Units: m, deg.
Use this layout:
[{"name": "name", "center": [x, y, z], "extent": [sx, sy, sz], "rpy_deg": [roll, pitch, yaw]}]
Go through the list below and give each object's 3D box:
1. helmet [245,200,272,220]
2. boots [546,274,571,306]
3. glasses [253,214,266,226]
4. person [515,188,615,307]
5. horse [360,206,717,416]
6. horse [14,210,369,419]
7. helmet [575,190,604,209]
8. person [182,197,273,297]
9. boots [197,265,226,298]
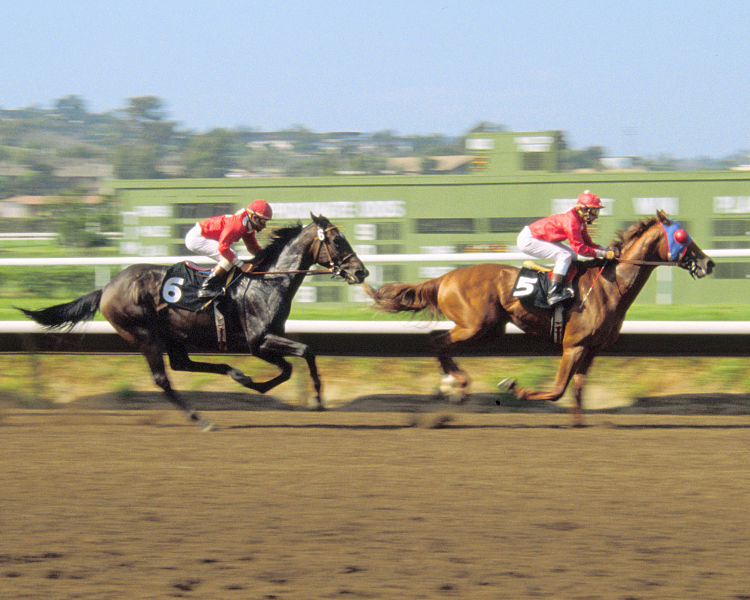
[{"name": "helmet", "center": [-0.761, -0.600, 9.767], "extent": [0.190, 0.079, 0.130], "rpy_deg": [26, 22, 16]}, {"name": "boots", "center": [1.170, -0.060, 9.592], "extent": [0.168, 0.201, 0.092], "rpy_deg": [-3, 9, -1]}, {"name": "glasses", "center": [-0.720, -0.519, 9.761], "extent": [0.074, 0.059, 0.078], "rpy_deg": [-4, -10, 13]}, {"name": "person", "center": [1.225, -0.336, 9.741], "extent": [0.512, 0.727, 0.447], "rpy_deg": [-5, 9, -10]}, {"name": "horse", "center": [1.104, 0.056, 10.010], "extent": [2.734, 1.155, 0.540], "rpy_deg": [-1, -2, 40]}, {"name": "horse", "center": [-1.157, 0.181, 10.217], "extent": [3.302, 1.283, 0.715], "rpy_deg": [-3, 0, 41]}, {"name": "helmet", "center": [1.363, -0.647, 9.687], "extent": [0.214, 0.085, 0.132], "rpy_deg": [2, 11, 10]}, {"name": "person", "center": [-0.888, -0.360, 9.890], "extent": [0.692, 0.586, 0.525], "rpy_deg": [15, 28, 40]}, {"name": "boots", "center": [-1.027, -0.113, 9.723], "extent": [0.198, 0.185, 0.072], "rpy_deg": [-4, 9, -12]}]
